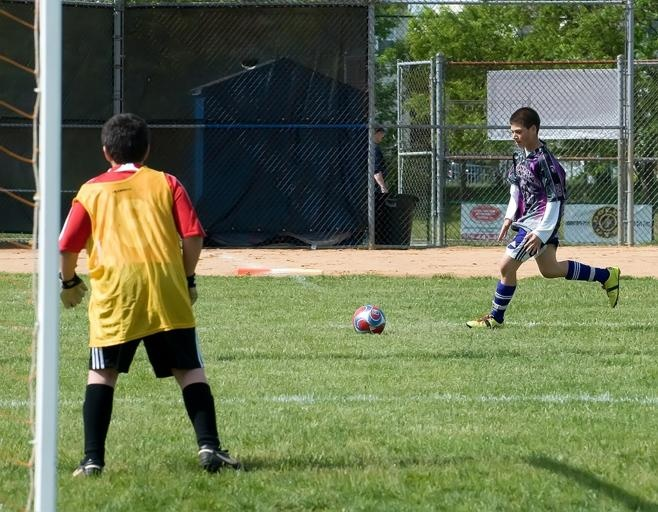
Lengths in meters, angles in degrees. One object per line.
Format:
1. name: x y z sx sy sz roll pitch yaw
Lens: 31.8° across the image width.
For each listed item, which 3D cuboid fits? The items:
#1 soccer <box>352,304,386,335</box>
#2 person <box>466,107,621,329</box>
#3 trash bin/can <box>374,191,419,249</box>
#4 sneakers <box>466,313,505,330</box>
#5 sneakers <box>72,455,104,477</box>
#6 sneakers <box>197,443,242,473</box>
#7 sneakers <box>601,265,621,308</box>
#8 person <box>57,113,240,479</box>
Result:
1. soccer: 0.352 0.533 10.301 0.234 0.260 0.248 -1 -30 -18
2. person: 1.971 -0.372 10.622 1.435 1.990 0.574 -5 10 -26
3. trash bin/can: 0.958 -0.509 16.834 0.635 0.704 0.791 0 -1 17
4. sneakers: 1.457 0.593 10.604 0.326 0.155 0.134 2 0 3
5. sneakers: -1.494 1.302 7.160 0.213 0.100 0.086 5 1 41
6. sneakers: -0.696 1.283 7.285 0.317 0.147 0.116 15 -22 -40
7. sneakers: 2.782 0.290 11.269 0.198 0.445 0.146 -7 14 -5
8. person: -1.193 0.226 7.275 0.963 2.187 0.704 -2 9 -14
